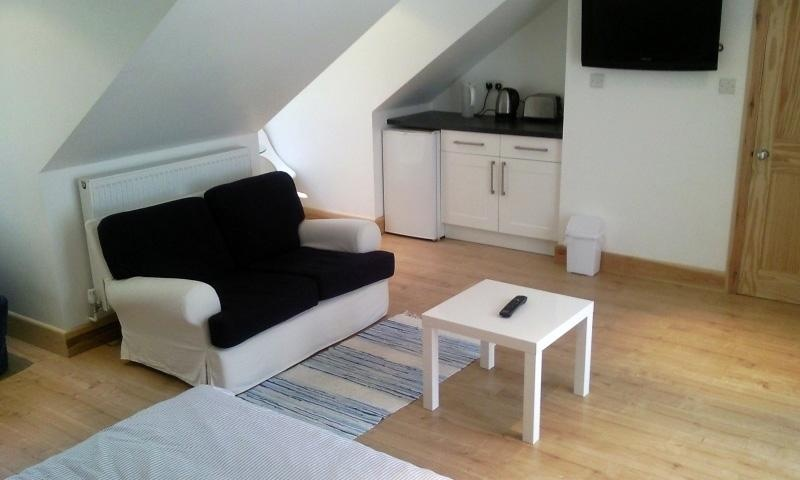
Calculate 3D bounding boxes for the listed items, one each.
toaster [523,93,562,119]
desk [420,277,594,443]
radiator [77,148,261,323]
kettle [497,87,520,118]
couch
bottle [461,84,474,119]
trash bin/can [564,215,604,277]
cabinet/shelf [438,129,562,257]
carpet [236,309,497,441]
[{"bbox_3d":[1.453,-1.371,5.885,0.304,0.171,0.342,6,18,22],"label":"toaster"},{"bbox_3d":[0.718,0.764,3.787,1.014,0.694,0.771,9,25,24],"label":"desk"},{"bbox_3d":[-1.721,0.011,4.180,0.167,0.799,1.208,7,27,34],"label":"radiator"},{"bbox_3d":[1.163,-1.468,6.102,0.211,0.294,0.297,18,30,38],"label":"kettle"},{"bbox_3d":[-1.133,0.221,4.500,1.456,1.100,1.881,15,25,38],"label":"couch"},{"bbox_3d":[0.760,-1.540,6.236,0.148,0.331,0.360,1,23,7],"label":"bottle"},{"bbox_3d":[1.712,0.052,5.303,0.337,0.503,0.274,7,25,21],"label":"trash bin/can"},{"bbox_3d":[1.184,-0.574,5.926,1.350,1.110,0.686,14,27,38],"label":"cabinet/shelf"},{"bbox_3d":[-0.382,1.024,4.007,0.754,0.012,1.277,15,12,23],"label":"carpet"}]
